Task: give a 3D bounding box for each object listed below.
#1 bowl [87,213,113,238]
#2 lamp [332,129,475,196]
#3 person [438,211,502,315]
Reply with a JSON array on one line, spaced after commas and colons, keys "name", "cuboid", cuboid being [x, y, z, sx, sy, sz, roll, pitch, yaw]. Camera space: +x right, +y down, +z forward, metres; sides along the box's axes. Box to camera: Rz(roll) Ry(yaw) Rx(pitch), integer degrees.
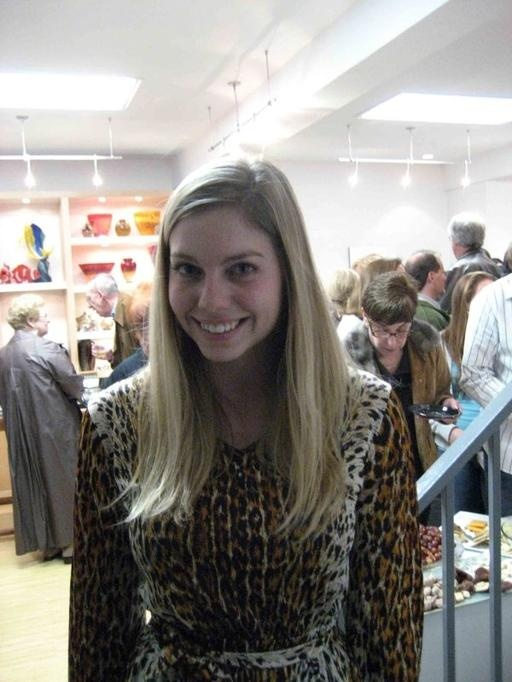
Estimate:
[{"name": "bowl", "cuboid": [-1.522, -1.137, 5.505, 0.228, 0.221, 0.240, -1, 3, 0]}, {"name": "lamp", "cuboid": [1.502, -1.859, 5.686, 1.387, 0.627, 0.150, 0, 39, -1]}, {"name": "person", "cuboid": [1.460, -0.493, 3.761, 0.548, 0.694, 0.374, -13, 14, -18]}]
